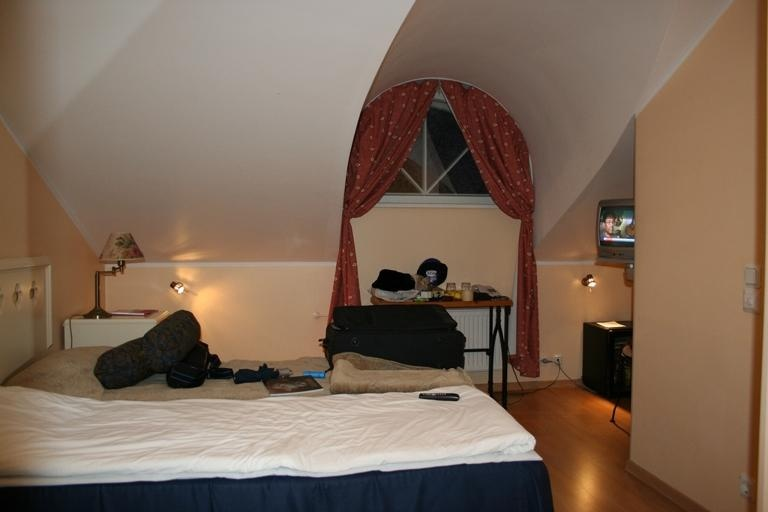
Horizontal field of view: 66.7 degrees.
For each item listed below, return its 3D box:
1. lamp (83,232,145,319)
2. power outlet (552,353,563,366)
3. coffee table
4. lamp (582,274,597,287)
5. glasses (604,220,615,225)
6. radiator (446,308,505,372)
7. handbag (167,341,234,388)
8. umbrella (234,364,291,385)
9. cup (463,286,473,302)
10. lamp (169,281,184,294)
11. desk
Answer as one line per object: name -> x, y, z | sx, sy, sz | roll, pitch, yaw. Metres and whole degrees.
lamp -> -2.226, 0.154, 4.794 | 0.460, 0.712, 0.710 | -6, 14, -24
power outlet -> 1.729, 1.035, 5.793 | 0.098, 0.116, 0.021 | -3, 12, -10
coffee table -> 2.167, 0.993, 5.607 | 0.321, 0.659, 0.602 | -6, 13, -20
lamp -> 2.053, 0.255, 5.793 | 0.170, 0.142, 0.088 | -6, 13, -23
glasses -> 1.903, -0.278, 4.916 | 0.039, 0.029, 0.040 | -1, -1, 42
radiator -> 0.917, 0.853, 5.657 | 0.017, 0.613, 0.606 | -6, -11, 41
handbag -> -1.192, 0.674, 3.764 | 0.234, 0.077, 0.323 | 23, 8, 0
umbrella -> -0.820, 0.789, 3.875 | 0.240, 0.085, 0.148 | -3, -7, -15
cup -> 0.734, 0.335, 5.119 | 0.106, 0.125, 0.114 | 0, -7, 0
lamp -> -1.844, 0.281, 5.222 | 0.094, 0.098, 0.118 | 27, -10, 0
desk -> 0.407, 0.681, 4.332 | 0.988, 0.943, 0.430 | 0, -4, -9
